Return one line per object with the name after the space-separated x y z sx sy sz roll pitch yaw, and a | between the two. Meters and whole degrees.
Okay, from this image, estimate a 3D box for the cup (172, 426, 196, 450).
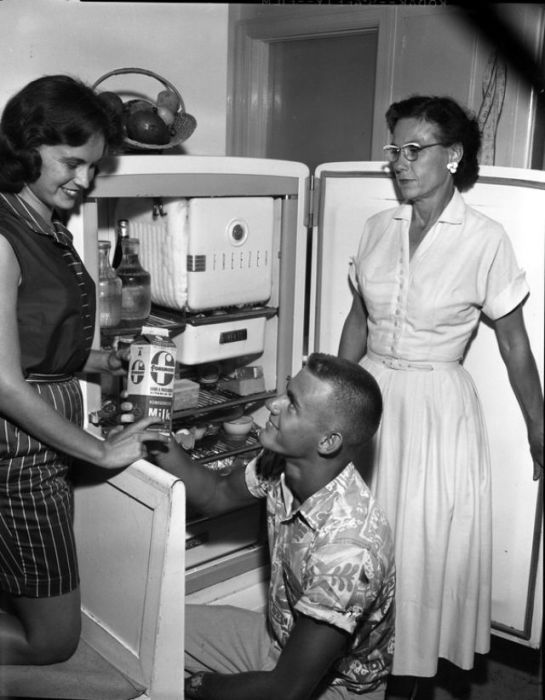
-0.272 0.266 2.094 0.080 0.097 0.066 3 3 21 | cup

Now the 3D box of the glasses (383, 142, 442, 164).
0.346 -0.496 1.643 0.154 0.051 0.063 11 15 34 | glasses

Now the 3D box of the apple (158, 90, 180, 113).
-0.318 -0.759 1.996 0.064 0.068 0.077 0 4 -3 | apple

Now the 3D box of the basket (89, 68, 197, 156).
-0.356 -0.671 1.910 0.286 0.240 0.354 0 11 -16 | basket

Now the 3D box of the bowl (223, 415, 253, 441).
-0.120 0.263 2.256 0.070 0.056 0.079 -1 -4 7 | bowl
